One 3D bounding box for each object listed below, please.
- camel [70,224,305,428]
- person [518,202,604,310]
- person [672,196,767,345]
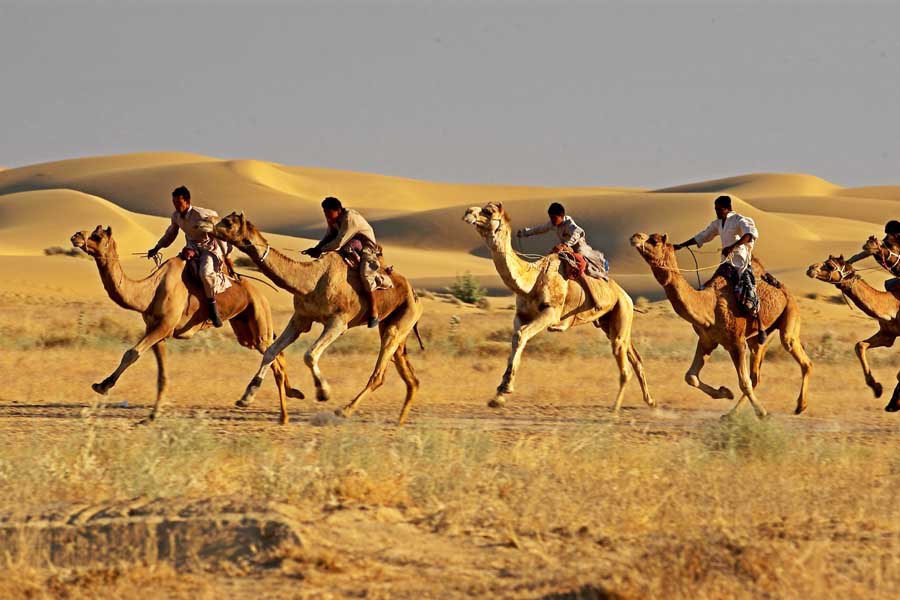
[{"bbox_3d":[-4.459,0.575,16.346,3.006,3.402,6.595,-1,-15,2],"label":"camel"},{"bbox_3d":[1.656,-0.640,14.896,1.548,1.613,0.882,-4,1,-17],"label":"person"},{"bbox_3d":[3.976,-0.440,14.438,0.931,2.111,1.418,8,-10,-43],"label":"person"}]
